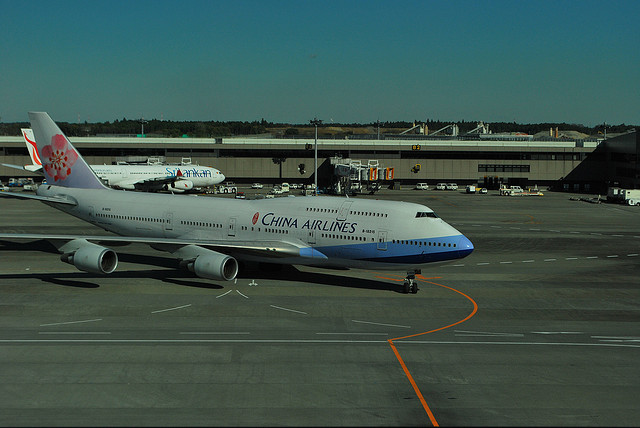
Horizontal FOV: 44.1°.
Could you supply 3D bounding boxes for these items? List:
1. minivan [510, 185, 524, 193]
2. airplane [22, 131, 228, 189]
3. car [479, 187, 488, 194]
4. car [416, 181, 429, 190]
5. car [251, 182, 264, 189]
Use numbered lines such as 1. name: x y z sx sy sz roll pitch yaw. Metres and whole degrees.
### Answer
1. minivan: 37.329 -4.592 149.193 3.741 1.064 1.701 0 7 3
2. airplane: -31.416 -8.714 140.543 34.592 7.140 29.355 0 -2 -28
3. car: 31.193 -4.414 151.665 1.589 0.447 2.004 2 10 9
4. car: 20.415 -5.690 159.211 2.060 0.853 2.487 0 7 -6
5. car: -12.826 -5.783 160.977 2.290 0.792 2.743 0 8 -4
